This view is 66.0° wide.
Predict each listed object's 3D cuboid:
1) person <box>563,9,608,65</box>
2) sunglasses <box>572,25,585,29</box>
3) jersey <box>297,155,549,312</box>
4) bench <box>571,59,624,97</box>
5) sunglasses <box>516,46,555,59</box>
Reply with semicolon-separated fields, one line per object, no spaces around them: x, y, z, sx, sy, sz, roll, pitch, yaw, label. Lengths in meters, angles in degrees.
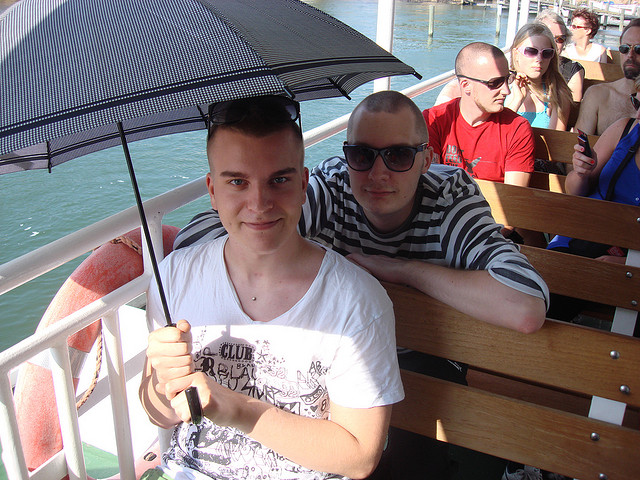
3.799;-2.879;7.067;0.408;0.816;0.874;-4;23;2;person
3.592;-2.993;6.874;0.072;0.024;0.071;2;6;-33;sunglasses
0.246;-0.139;2.161;1.198;0.468;0.577;-3;36;-12;jersey
3.286;-2.039;5.821;0.222;0.394;0.608;30;18;35;bench
1.849;-1.606;4.205;0.287;0.103;0.109;8;25;21;sunglasses
